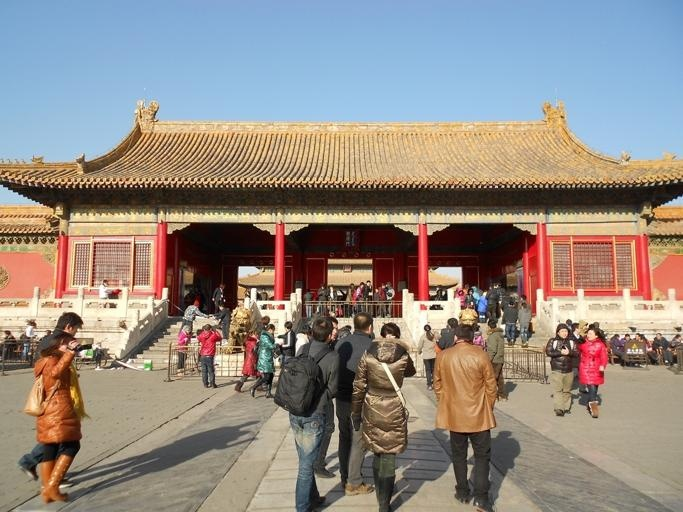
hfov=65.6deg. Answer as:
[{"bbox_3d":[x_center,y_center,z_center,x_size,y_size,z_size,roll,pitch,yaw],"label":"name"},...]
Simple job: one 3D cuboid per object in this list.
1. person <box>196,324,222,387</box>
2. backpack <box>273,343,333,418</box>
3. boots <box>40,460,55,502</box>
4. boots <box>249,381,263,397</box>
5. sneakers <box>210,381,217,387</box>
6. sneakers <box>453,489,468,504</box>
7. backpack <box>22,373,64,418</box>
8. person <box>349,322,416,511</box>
[{"bbox_3d":[-3.106,2.307,12.441,0.467,1.453,1.033,1,-2,-14],"label":"person"},{"bbox_3d":[-0.359,1.458,6.030,0.467,0.678,0.705,9,-2,27],"label":"backpack"},{"bbox_3d":[-3.430,2.620,6.171,0.161,0.468,0.138,0,-2,-3],"label":"boots"},{"bbox_3d":[-1.762,2.704,10.841,0.193,0.438,0.145,5,6,-24],"label":"boots"},{"bbox_3d":[-2.934,2.982,12.210,0.082,0.154,0.162,-2,-28,2],"label":"sneakers"},{"bbox_3d":[1.357,2.731,6.019,0.088,0.138,0.140,4,7,-3],"label":"sneakers"},{"bbox_3d":[-3.572,1.655,6.234,0.404,0.478,0.243,0,-2,23],"label":"backpack"},{"bbox_3d":[0.456,1.863,5.953,0.704,1.851,0.524,0,-2,6],"label":"person"}]
